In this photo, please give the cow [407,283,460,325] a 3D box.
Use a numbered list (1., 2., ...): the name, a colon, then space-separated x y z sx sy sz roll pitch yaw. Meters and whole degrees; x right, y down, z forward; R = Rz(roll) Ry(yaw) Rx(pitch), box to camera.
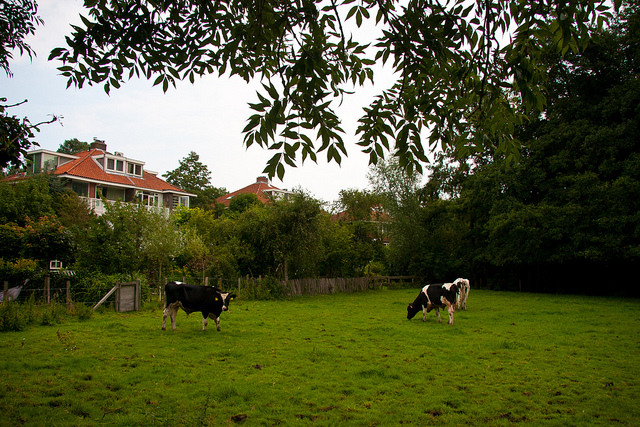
1. cow: 5.375 4.228 23.906 2.240 1.945 1.347 9 13 39
